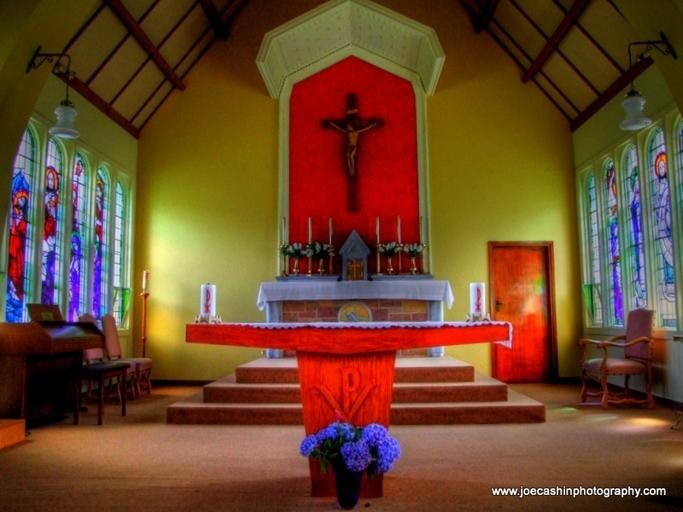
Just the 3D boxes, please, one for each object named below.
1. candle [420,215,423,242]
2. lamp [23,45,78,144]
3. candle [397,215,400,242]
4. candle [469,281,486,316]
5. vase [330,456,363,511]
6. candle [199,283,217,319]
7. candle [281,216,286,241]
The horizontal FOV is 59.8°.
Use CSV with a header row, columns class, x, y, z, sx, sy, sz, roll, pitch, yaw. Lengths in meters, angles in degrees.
class,x,y,z,sx,sy,sz,roll,pitch,yaw
candle,1.198,-0.417,8.889,0.053,0.405,0.026,0,-6,1
lamp,-3.080,-1.752,6.295,0.516,0.968,0.331,4,-3,-21
candle,0.852,-0.418,8.809,0.081,0.438,0.263,0,-6,6
candle,1.086,0.341,4.712,0.111,0.264,0.323,-1,-7,11
vase,0.011,1.606,4.260,0.285,0.372,0.317,0,-5,-3
candle,-1.060,0.365,4.688,0.122,0.281,0.255,2,-7,-13
candle,-0.860,-0.404,8.906,0.080,0.376,0.026,4,-7,-31
